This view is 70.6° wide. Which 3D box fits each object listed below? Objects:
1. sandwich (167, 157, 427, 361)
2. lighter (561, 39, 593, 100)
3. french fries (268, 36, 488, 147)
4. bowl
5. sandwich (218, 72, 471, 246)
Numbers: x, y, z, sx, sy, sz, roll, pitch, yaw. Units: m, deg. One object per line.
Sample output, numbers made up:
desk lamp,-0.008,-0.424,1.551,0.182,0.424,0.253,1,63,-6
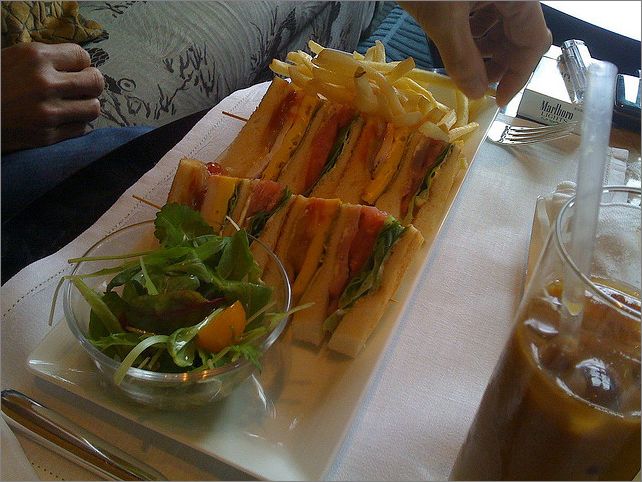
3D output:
sandwich,-0.079,-0.026,1.323,0.635,0.502,0.456,-13,31,-21
lighter,1.105,-0.752,1.983,0.122,0.158,0.512,21,39,13
french fries,0.251,-0.639,1.815,0.726,0.498,0.617,9,34,22
bowl,-0.324,0.153,1.066,0.494,0.227,0.451,8,38,-6
sandwich,0.097,-0.255,1.699,0.782,0.253,0.553,19,79,13
